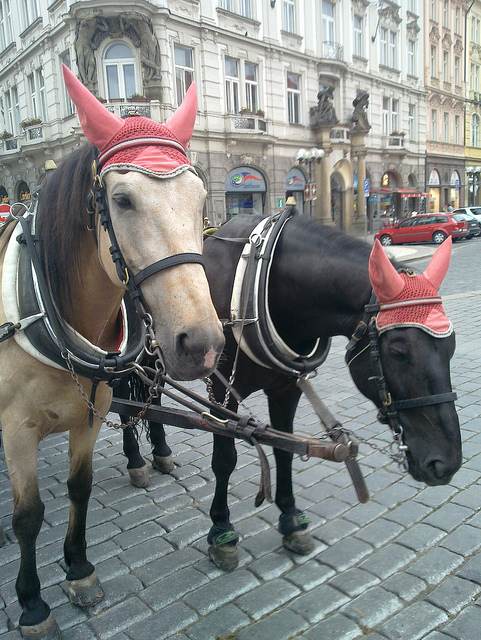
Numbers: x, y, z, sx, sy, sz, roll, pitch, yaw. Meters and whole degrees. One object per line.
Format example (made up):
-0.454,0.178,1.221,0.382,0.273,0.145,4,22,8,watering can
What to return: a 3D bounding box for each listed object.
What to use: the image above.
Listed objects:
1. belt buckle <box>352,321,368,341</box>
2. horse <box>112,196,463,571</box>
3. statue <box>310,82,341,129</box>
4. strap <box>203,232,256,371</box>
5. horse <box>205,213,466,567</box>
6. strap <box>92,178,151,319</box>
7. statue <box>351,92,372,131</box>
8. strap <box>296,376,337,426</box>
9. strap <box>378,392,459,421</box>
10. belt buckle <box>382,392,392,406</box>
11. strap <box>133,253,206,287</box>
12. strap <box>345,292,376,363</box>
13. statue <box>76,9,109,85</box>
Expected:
0.521,0.042,2.888,0.026,0.086,0.049,23,44,-19,belt buckle
0.127,0.361,4.047,0.916,2.033,3.238,-1,9,-29,horse
3.179,-8.461,25.329,1.056,1.561,0.418,1,11,-1,statue
-0.001,-0.108,3.346,0.294,0.577,0.277,-11,27,-41,strap
0.433,0.114,3.186,1.477,1.270,0.668,8,13,35,horse
-0.475,-0.289,2.522,0.267,0.503,0.268,-11,27,-39,strap
5.109,-9.084,27.786,0.617,1.682,0.754,7,13,30,statue
0.394,0.439,3.186,0.088,0.295,0.067,-37,-20,6,strap
0.749,0.388,2.834,0.454,0.090,0.089,-12,1,34,strap
0.629,0.351,2.831,0.017,0.048,0.038,10,28,18,belt buckle
-0.279,-0.191,2.449,0.265,0.135,0.102,0,10,-7,strap
0.505,0.079,2.934,0.051,0.252,0.084,16,5,22,strap
-4.207,-7.716,18.109,0.793,1.937,0.385,1,11,-1,statue
